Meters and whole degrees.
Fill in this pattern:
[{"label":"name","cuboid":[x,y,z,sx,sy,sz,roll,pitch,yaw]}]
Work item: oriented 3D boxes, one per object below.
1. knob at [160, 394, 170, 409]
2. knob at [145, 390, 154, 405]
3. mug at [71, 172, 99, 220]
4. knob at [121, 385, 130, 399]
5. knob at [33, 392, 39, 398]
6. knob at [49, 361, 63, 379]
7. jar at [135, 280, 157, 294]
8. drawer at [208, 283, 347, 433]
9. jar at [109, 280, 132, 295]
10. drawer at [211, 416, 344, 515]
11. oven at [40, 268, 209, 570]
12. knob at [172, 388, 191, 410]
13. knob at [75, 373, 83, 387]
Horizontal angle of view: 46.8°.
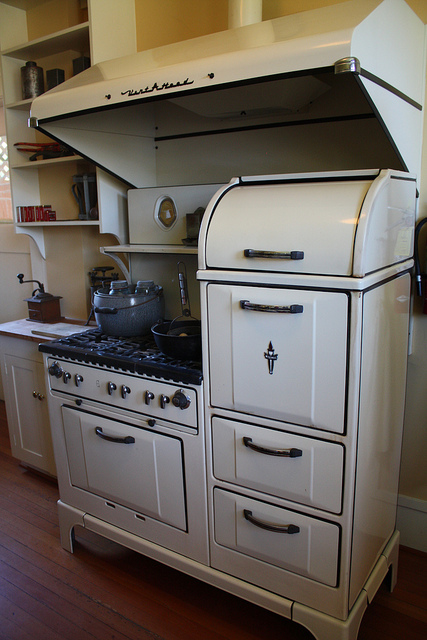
[{"label":"knob","cuboid":[-0.153,0.258,1.552,0.033,0.045,0.013,7,14,42]},{"label":"knob","cuboid":[-0.210,0.252,1.596,0.042,0.052,0.017,8,15,44]},{"label":"mug","cuboid":[-0.658,-0.605,2.464,0.109,0.200,0.147,-15,16,11]},{"label":"knob","cuboid":[-0.296,0.244,1.657,0.032,0.049,0.015,6,14,39]},{"label":"knob","cuboid":[-0.855,0.363,2.387,0.026,0.026,0.025,4,-16,-5]},{"label":"knob","cuboid":[-0.595,0.190,1.872,0.059,0.052,0.055,-2,-18,25]},{"label":"jar","cuboid":[-0.273,-0.128,2.004,0.060,0.063,0.063,-1,0,0]},{"label":"drawer","cuboid":[0.197,0.062,1.384,0.401,0.404,0.289,4,17,21]},{"label":"jar","cuboid":[-0.373,-0.141,1.966,0.060,0.060,0.062,-7,11,1]},{"label":"drawer","cuboid":[0.211,0.368,1.447,0.399,0.218,0.258,6,15,27]},{"label":"oven","cuboid":[-0.260,0.335,1.893,0.723,1.063,0.507,8,22,23]},{"label":"knob","cuboid":[-0.098,0.243,1.498,0.051,0.064,0.030,5,13,36]},{"label":"knob","cuboid":[-0.492,0.219,1.806,0.029,0.042,0.009,1,14,11]}]
